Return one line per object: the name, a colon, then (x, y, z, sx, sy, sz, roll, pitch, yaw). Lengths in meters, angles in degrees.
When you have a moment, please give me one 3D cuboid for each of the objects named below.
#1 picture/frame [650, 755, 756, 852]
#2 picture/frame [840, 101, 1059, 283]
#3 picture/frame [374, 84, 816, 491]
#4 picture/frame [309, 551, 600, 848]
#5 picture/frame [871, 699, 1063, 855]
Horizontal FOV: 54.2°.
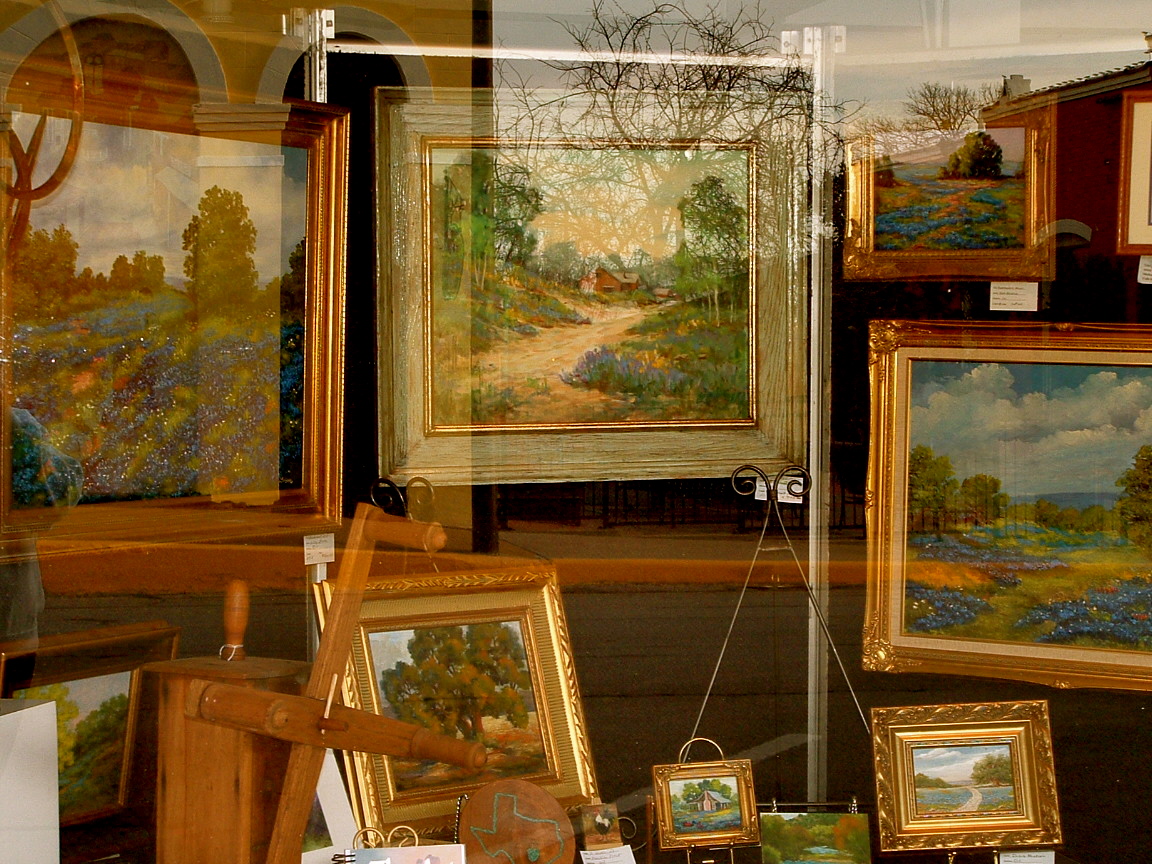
picture/frame: (0.273, 0.797, 2.407, 0.215, 0.168, 0.024, -2, -20, -6)
picture/frame: (0.960, -0.619, 2.840, 0.514, 0.370, 0.021, 0, 1, 5)
picture/frame: (0.003, -0.375, 2.773, 1.135, 0.851, 0.086, 0, 5, -7)
picture/frame: (-0.257, 0.552, 2.277, 0.742, 0.675, 0.052, -3, -11, -26)
picture/frame: (0.841, 0.749, 2.436, 0.366, 0.283, 0.036, -1, -12, -5)
